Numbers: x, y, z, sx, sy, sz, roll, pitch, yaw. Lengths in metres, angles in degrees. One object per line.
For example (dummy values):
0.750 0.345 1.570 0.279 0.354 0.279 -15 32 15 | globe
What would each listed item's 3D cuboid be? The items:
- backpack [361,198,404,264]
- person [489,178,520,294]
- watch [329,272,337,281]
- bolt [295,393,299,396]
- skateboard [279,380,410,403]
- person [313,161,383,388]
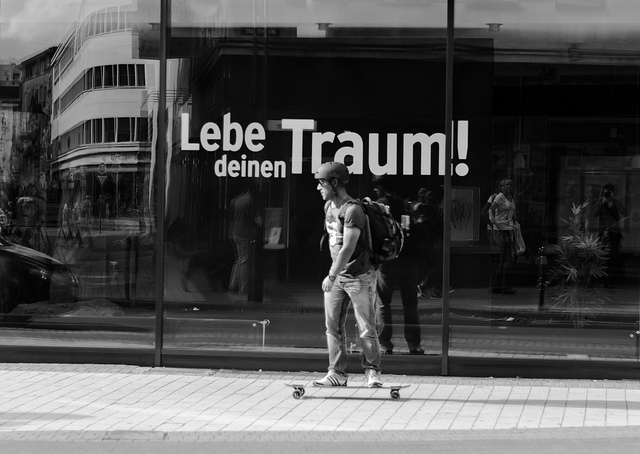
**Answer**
0.695 0.048 8.243 0.428 0.775 0.583 -9 -3 9 | backpack
2.310 0.110 9.399 0.351 1.433 0.099 0 -1 7 | person
0.137 0.543 7.929 0.056 0.057 0.061 3 2 34 | watch
-0.246 1.788 7.970 0.026 0.026 0.007 -1 -5 1 | bolt
0.273 1.801 8.213 1.424 0.217 0.469 1 4 6 | skateboard
0.299 0.527 8.056 0.726 2.433 0.478 0 -1 6 | person
